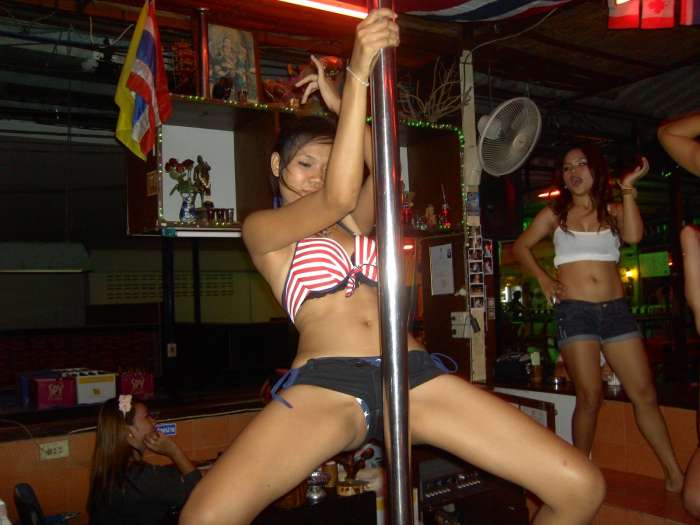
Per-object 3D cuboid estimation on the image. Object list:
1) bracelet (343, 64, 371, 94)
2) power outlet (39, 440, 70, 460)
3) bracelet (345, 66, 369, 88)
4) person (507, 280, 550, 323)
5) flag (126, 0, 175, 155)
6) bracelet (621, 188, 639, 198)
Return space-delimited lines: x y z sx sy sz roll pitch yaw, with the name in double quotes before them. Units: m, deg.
"bracelet" 0.017 -0.575 1.754 0.082 0.022 0.064 34 2 -4
"power outlet" -2.119 1.326 3.958 0.190 0.131 0.017 0 0 -31
"bracelet" 0.024 -0.570 1.755 0.068 0.019 0.053 34 0 -27
"person" 3.594 0.621 11.247 0.614 1.120 1.159 -8 -12 30
"flag" -1.499 -1.374 4.125 0.308 1.168 0.276 0 0 -19
"bracelet" 1.995 -0.492 3.947 0.099 0.056 0.099 -1 1 -21
